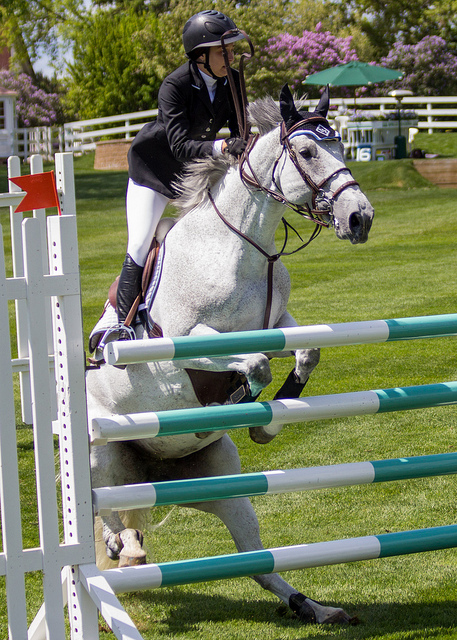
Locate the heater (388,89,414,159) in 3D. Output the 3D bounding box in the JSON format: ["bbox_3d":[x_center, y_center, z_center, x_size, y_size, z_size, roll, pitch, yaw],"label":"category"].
[{"bbox_3d":[3.308,-3.740,22.106,0.544,1.245,0.566,-1,4,21],"label":"heater"}]

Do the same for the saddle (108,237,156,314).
[{"bbox_3d":[-0.373,-0.181,4.610,0.209,0.277,0.068,6,-6,-2],"label":"saddle"}]

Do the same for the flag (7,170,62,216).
[{"bbox_3d":[-0.629,-0.408,3.752,0.151,0.169,0.010,-10,-21,-7],"label":"flag"}]

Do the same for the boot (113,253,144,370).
[{"bbox_3d":[-0.374,-0.040,4.529,0.127,0.419,0.101,9,-7,-3],"label":"boot"}]

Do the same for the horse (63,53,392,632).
[{"bbox_3d":[-0.044,0.112,4.610,1.064,2.009,1.976,-3,3,-4],"label":"horse"}]

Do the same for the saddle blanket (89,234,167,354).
[{"bbox_3d":[-0.411,-0.072,4.535,0.116,0.465,0.275,22,2,-20],"label":"saddle blanket"}]
